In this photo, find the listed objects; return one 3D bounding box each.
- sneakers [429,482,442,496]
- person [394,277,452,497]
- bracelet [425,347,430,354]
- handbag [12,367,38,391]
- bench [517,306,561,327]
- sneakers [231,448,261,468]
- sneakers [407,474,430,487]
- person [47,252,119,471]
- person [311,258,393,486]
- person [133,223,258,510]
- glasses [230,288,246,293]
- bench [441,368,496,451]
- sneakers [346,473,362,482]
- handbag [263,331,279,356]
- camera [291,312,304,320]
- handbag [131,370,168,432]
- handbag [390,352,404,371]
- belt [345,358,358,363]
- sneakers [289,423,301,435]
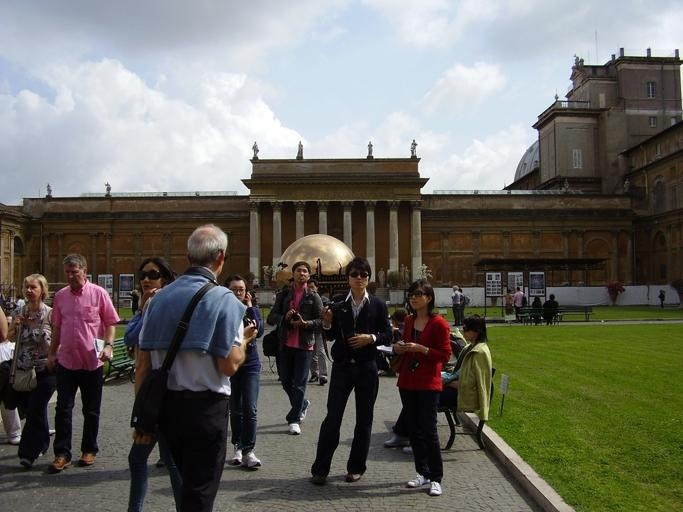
[{"bbox_3d":[1.220,3.032,9.613,0.175,0.174,0.264,-1,-2,7],"label":"sneakers"},{"bbox_3d":[1.090,1.734,9.889,0.741,2.794,0.614,-2,-3,20],"label":"person"},{"bbox_3d":[1.130,1.268,9.729,0.059,0.047,0.061,0,-5,1],"label":"bracelet"},{"bbox_3d":[-4.616,1.813,10.700,0.348,0.319,0.091,-1,-2,-5],"label":"handbag"},{"bbox_3d":[8.559,2.620,31.701,1.661,0.703,2.671,-1,-2,14],"label":"bench"},{"bbox_3d":[-1.318,2.898,10.484,0.511,0.257,0.193,-1,-5,24],"label":"sneakers"},{"bbox_3d":[1.057,3.010,9.813,0.350,0.175,0.132,3,-9,-18],"label":"sneakers"},{"bbox_3d":[-3.768,1.506,10.635,0.885,3.037,0.588,0,-3,-25],"label":"person"},{"bbox_3d":[0.123,1.541,10.120,1.166,3.032,0.557,0,-2,-13],"label":"person"},{"bbox_3d":[-1.619,1.232,7.997,1.128,3.042,0.371,0,-2,-11],"label":"person"},{"bbox_3d":[-1.547,0.521,10.870,0.204,0.071,0.221,0,-1,-4],"label":"glasses"},{"bbox_3d":[1.996,2.494,11.906,0.999,1.552,1.038,2,-6,-2],"label":"bench"},{"bbox_3d":[0.178,2.997,9.909,0.258,0.114,0.100,0,-3,-27],"label":"sneakers"},{"bbox_3d":[-1.185,1.491,12.348,0.257,0.443,0.337,-1,-2,-6],"label":"handbag"},{"bbox_3d":[-0.727,1.013,12.181,0.176,0.129,0.122,-3,-3,43],"label":"camera"},{"bbox_3d":[-2.061,1.569,7.893,0.377,0.693,0.207,0,-2,-14],"label":"handbag"},{"bbox_3d":[0.760,1.467,10.091,0.165,0.226,0.083,5,-3,7],"label":"handbag"},{"bbox_3d":[0.139,1.443,9.973,0.118,0.065,0.013,-1,-2,8],"label":"belt"},{"bbox_3d":[-0.750,2.806,11.866,0.184,0.163,0.192,-1,-2,-9],"label":"sneakers"}]
